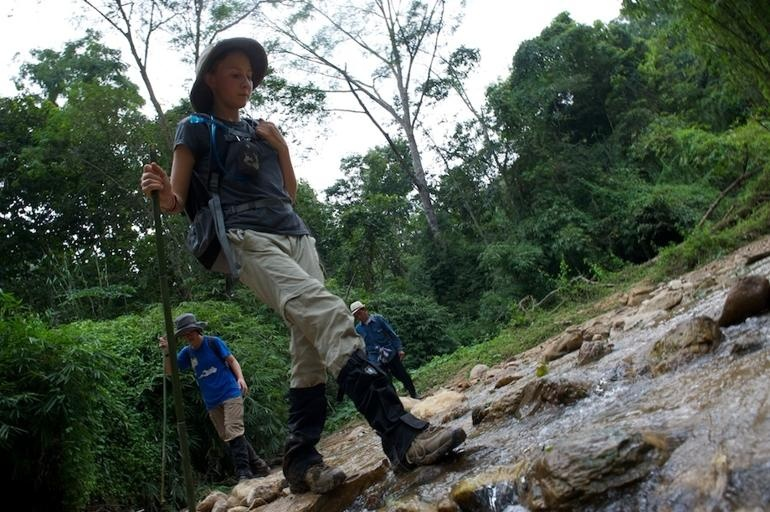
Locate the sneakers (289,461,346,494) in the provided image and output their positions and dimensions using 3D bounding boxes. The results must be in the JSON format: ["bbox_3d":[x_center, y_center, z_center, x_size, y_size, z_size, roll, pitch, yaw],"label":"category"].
[{"bbox_3d":[-0.570,1.885,4.600,0.470,0.239,0.234,-26,-21,15],"label":"sneakers"}]

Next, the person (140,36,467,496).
[{"bbox_3d":[-0.875,0.068,4.545,1.355,3.916,1.066,-23,-15,-3],"label":"person"}]

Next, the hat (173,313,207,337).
[{"bbox_3d":[-2.632,0.917,7.307,0.371,0.168,0.414,-16,1,21],"label":"hat"}]
